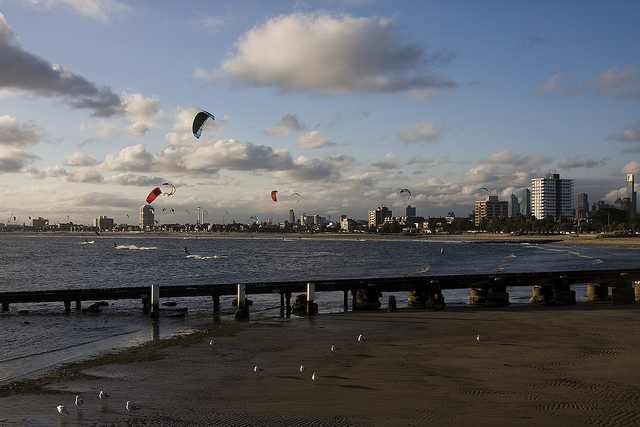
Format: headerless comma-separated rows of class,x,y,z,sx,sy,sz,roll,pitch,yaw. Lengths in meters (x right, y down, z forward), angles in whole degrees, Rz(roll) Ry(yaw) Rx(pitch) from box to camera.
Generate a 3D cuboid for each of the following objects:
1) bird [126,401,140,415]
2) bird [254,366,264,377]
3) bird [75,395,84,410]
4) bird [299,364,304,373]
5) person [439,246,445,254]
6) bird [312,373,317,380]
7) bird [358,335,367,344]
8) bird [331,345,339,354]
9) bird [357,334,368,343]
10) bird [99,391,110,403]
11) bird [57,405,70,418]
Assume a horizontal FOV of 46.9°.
bird,-7.252,7.521,28.589,0.461,0.471,0.287,1,0,-15
bird,-2.627,6.636,31.414,0.367,0.364,0.630,1,0,6
bird,-9.455,7.332,29.058,0.210,0.361,0.514,-1,3,-12
bird,-0.783,6.557,31.352,0.184,0.317,0.584,1,0,-2
person,22.693,6.727,136.975,0.657,1.661,0.621,0,14,-24
bird,-0.218,6.745,30.620,0.184,0.235,0.291,1,0,-1
bird,2.020,5.942,35.155,0.404,0.374,1.160,1,0,7
bird,0.660,6.140,33.697,0.370,0.297,0.555,1,0,27
bird,2.026,5.981,35.282,0.356,0.130,0.318,17,4,32
bird,-8.651,7.261,29.495,0.329,0.408,0.571,1,0,-7
bird,-9.947,7.618,28.511,0.397,0.457,0.345,1,0,-15
